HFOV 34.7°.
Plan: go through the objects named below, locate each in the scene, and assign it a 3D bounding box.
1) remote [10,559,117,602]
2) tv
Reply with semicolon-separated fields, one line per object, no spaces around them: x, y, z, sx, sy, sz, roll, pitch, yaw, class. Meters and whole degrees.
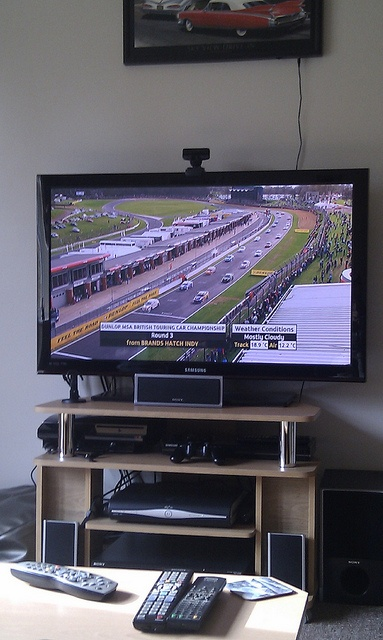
-0.273;0.514;1.286;0.220;0.053;0.079;3;-2;25;remote
0.049;-0.146;2.446;0.921;0.668;0.253;0;1;9;tv
